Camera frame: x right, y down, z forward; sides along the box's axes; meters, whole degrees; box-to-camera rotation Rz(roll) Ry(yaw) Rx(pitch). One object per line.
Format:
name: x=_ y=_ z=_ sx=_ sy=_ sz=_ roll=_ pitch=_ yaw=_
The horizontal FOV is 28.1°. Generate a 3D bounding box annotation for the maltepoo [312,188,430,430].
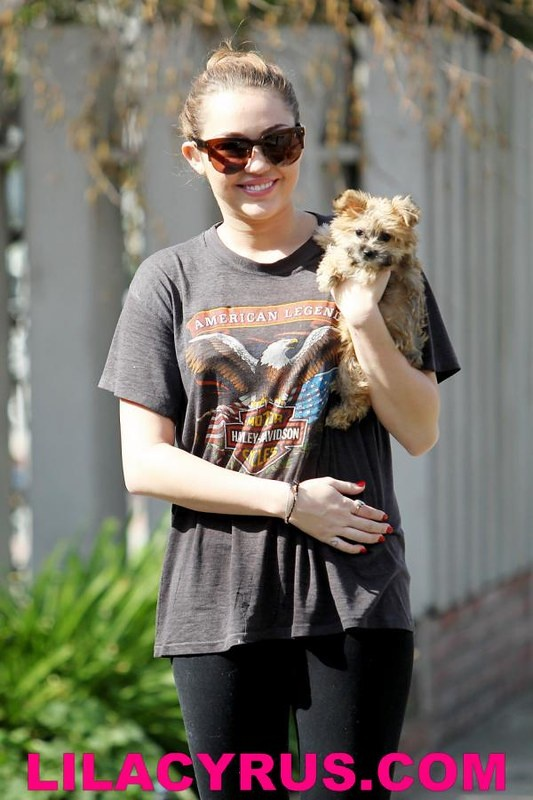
maltepoo: x=0.259 y=-0.210 z=2.933 sx=0.241 sy=0.724 sz=0.394 roll=-6 pitch=-11 yaw=37
